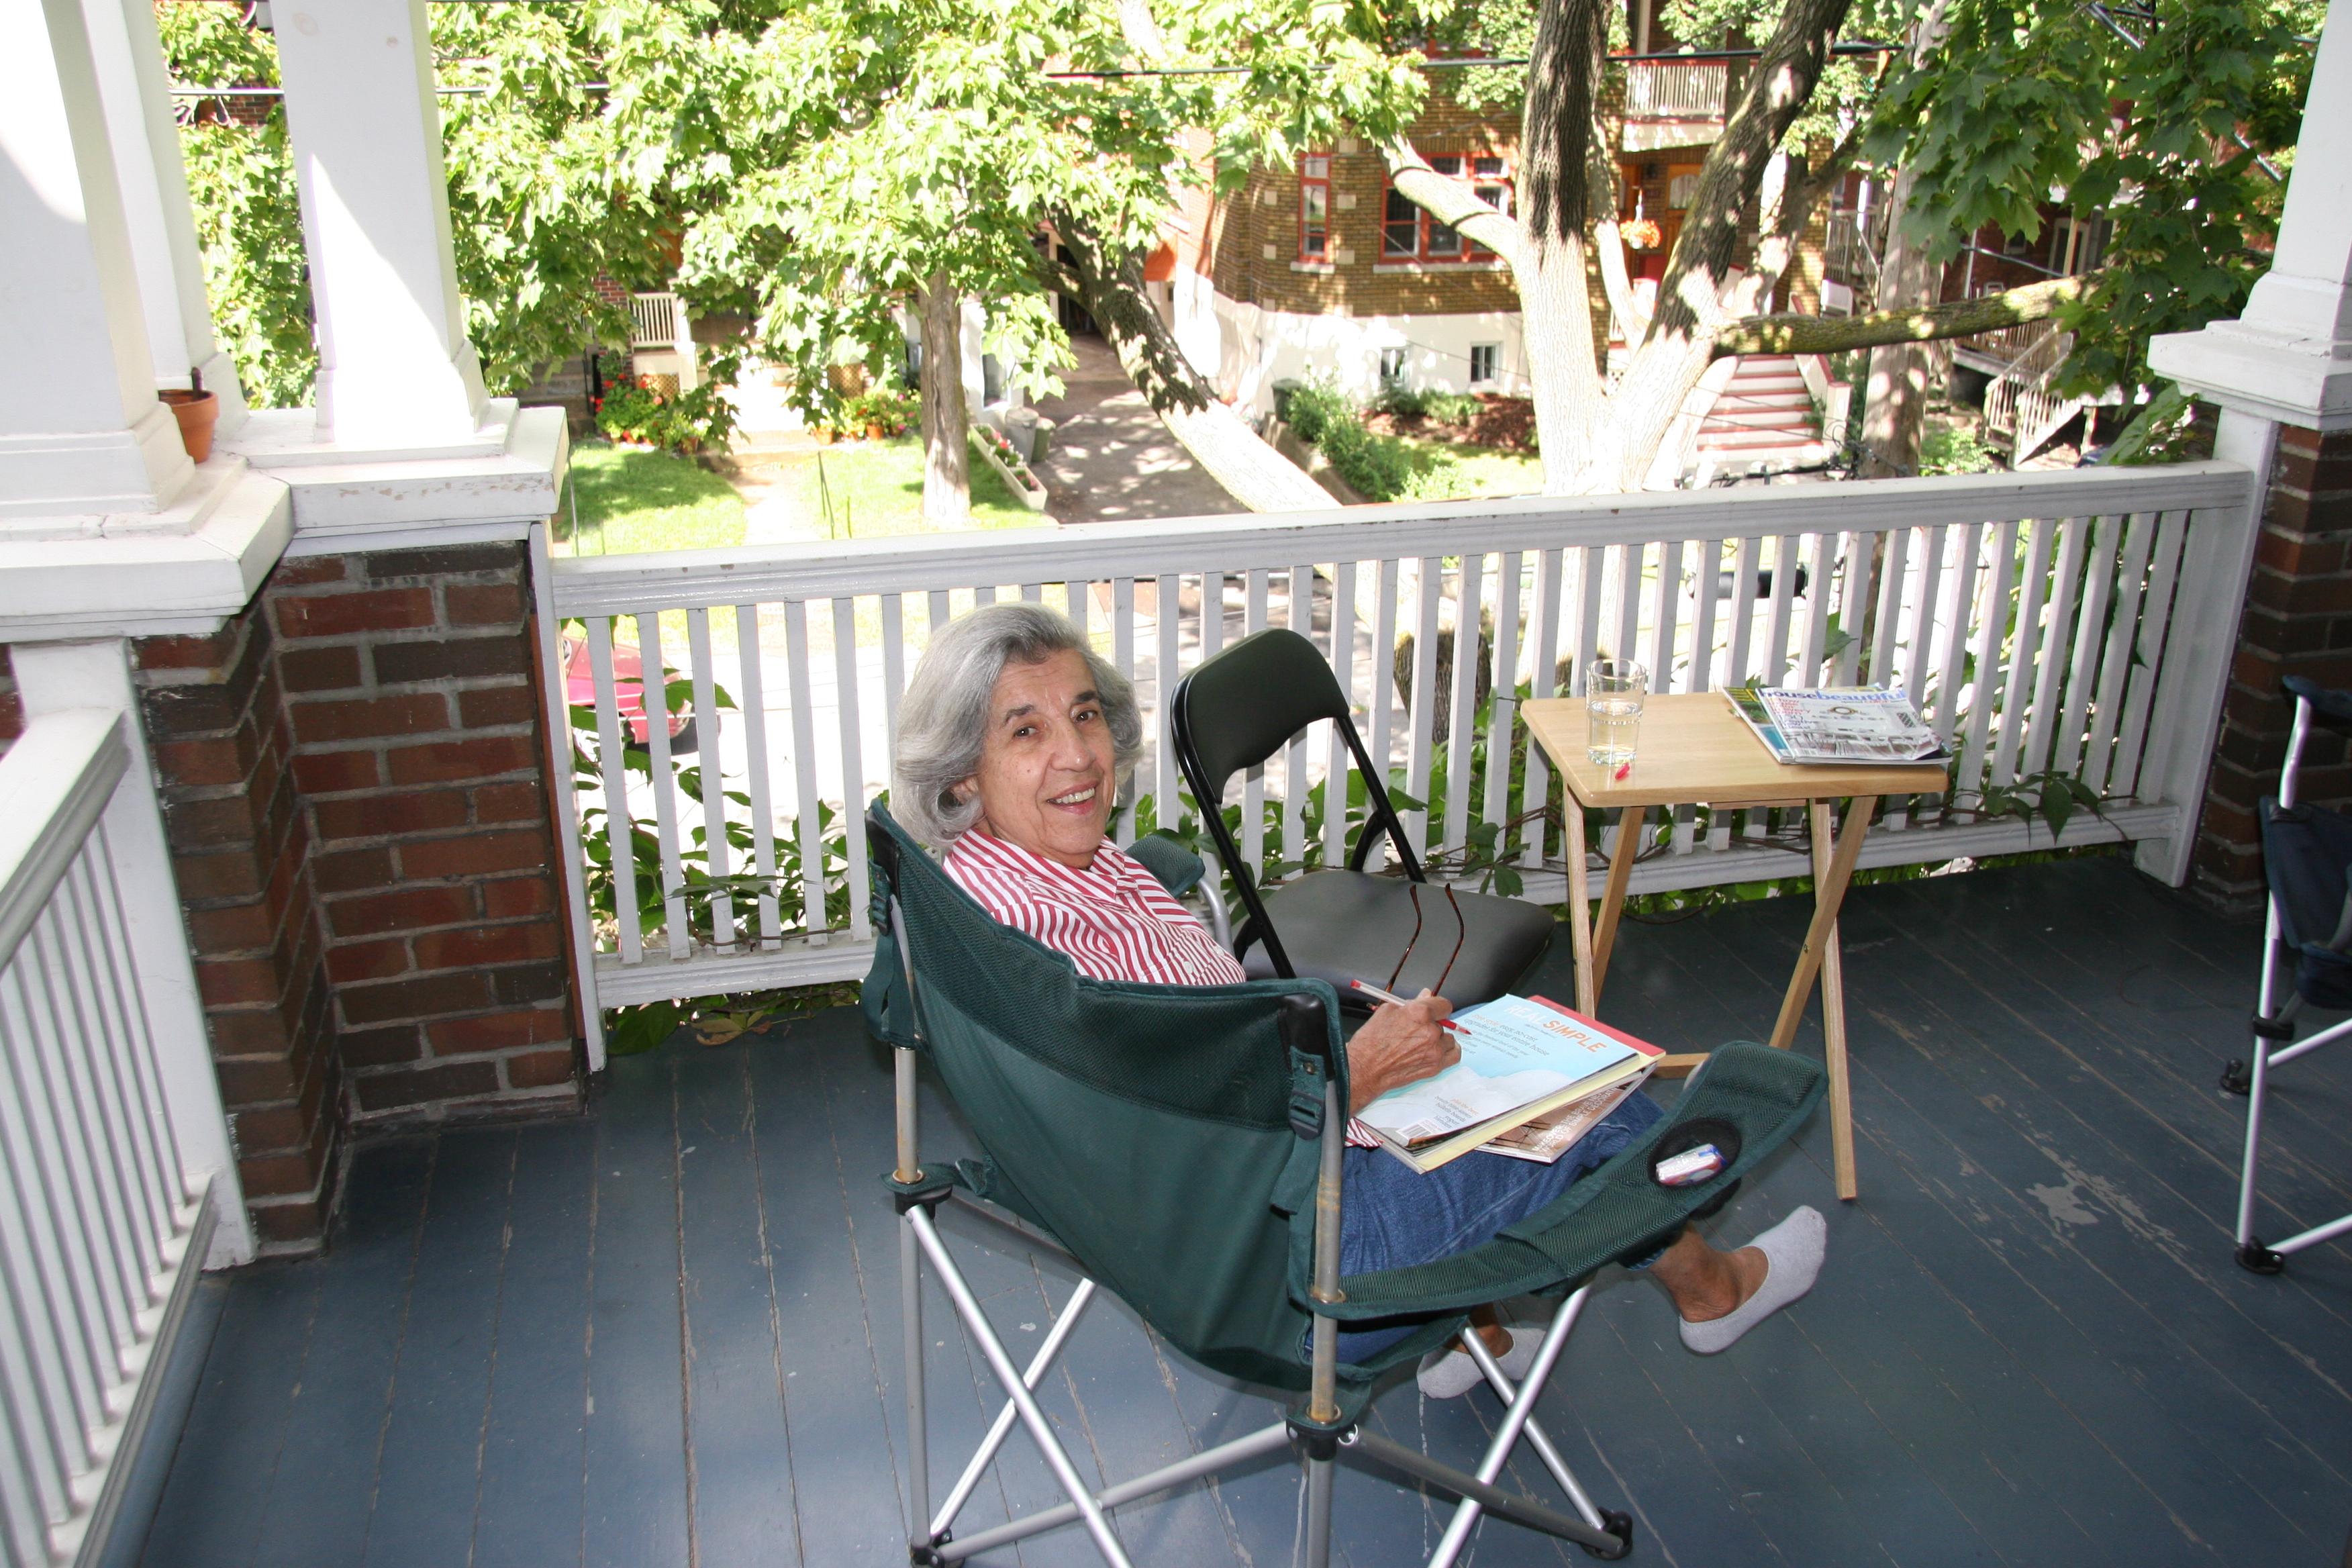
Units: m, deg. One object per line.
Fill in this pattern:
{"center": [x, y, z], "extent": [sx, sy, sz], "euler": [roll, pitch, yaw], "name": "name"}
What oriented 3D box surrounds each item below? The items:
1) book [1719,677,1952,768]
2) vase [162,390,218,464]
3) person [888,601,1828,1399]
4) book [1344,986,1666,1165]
{"center": [1.501, -0.131, 3.714], "extent": [0.265, 0.070, 0.270], "euler": [-1, 25, -7], "name": "book"}
{"center": [-2.107, -0.765, 3.547], "extent": [0.092, 0.143, 0.267], "euler": [-15, 24, -28], "name": "vase"}
{"center": [0.396, 0.259, 3.048], "extent": [0.946, 0.761, 0.504], "euler": [27, 36, 36], "name": "person"}
{"center": [0.568, 0.516, 2.846], "extent": [0.347, 0.098, 0.308], "euler": [-22, 32, -36], "name": "book"}
